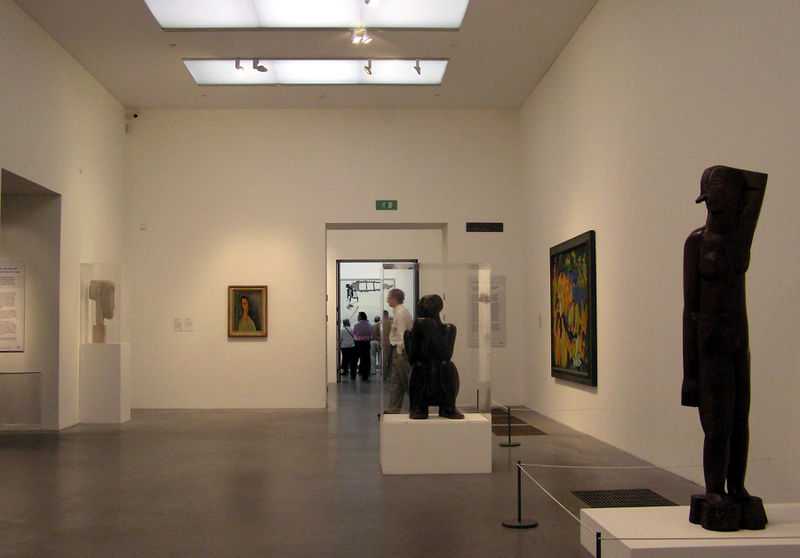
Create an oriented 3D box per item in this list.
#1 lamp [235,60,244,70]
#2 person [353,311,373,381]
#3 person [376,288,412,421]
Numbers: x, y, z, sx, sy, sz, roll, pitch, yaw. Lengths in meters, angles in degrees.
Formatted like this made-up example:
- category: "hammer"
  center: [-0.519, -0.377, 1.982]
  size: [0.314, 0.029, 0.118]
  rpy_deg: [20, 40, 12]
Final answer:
- category: "lamp"
  center: [-3.192, -4.289, 12.489]
  size: [0.106, 0.218, 0.205]
  rpy_deg: [-1, 6, -1]
- category: "person"
  center: [-1.164, 2.100, 19.965]
  size: [0.591, 2.154, 1.026]
  rpy_deg: [0, -2, -4]
- category: "person"
  center: [-0.023, 0.948, 8.447]
  size: [0.385, 1.677, 0.167]
  rpy_deg: [-1, -2, -1]
